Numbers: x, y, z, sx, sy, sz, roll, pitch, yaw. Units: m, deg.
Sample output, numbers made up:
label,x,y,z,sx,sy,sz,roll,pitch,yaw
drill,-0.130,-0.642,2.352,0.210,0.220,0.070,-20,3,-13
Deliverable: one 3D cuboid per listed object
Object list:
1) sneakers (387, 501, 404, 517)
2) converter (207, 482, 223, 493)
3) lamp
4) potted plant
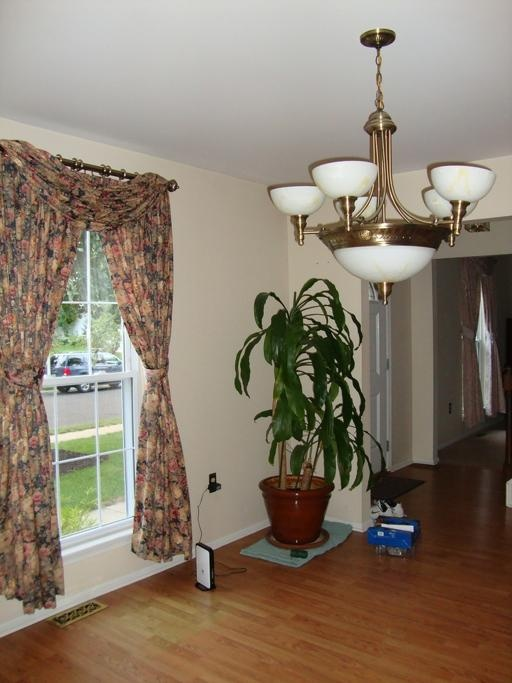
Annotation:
label,x,y,z,sx,sy,sz,roll,pitch,yaw
sneakers,1.055,1.248,4.247,0.112,0.079,0.083,-6,-6,43
converter,-0.274,0.967,3.798,0.081,0.059,0.029,-2,10,-43
lamp,0.389,-0.513,1.664,0.663,0.744,0.673,-1,5,-9
potted plant,0.302,0.483,3.727,0.969,1.761,0.848,-2,3,24
